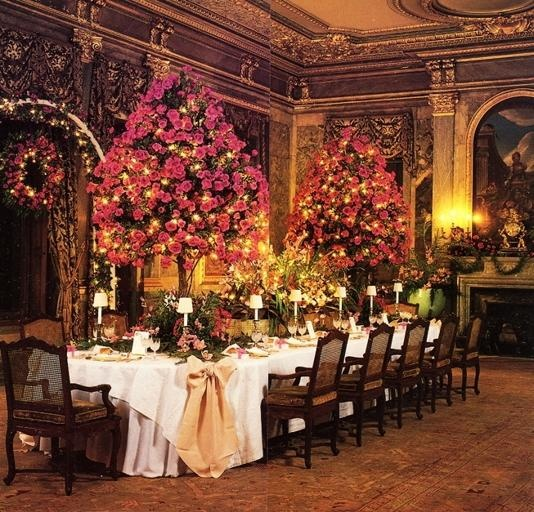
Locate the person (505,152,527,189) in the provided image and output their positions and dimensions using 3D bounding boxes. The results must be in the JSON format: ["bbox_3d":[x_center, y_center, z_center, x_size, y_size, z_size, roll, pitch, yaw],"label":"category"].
[{"bbox_3d":[4.613,-1.609,10.118,0.351,0.695,0.119,0,-2,17],"label":"person"}]

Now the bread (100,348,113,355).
[{"bbox_3d":[-1.066,0.626,3.628,0.047,0.015,0.045,8,3,28],"label":"bread"}]

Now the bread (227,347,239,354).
[{"bbox_3d":[-0.243,0.646,3.754,0.043,0.017,0.049,5,12,15],"label":"bread"}]

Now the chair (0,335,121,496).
[{"bbox_3d":[-1.171,0.866,3.098,0.653,0.855,0.521,1,-2,-15],"label":"chair"}]
